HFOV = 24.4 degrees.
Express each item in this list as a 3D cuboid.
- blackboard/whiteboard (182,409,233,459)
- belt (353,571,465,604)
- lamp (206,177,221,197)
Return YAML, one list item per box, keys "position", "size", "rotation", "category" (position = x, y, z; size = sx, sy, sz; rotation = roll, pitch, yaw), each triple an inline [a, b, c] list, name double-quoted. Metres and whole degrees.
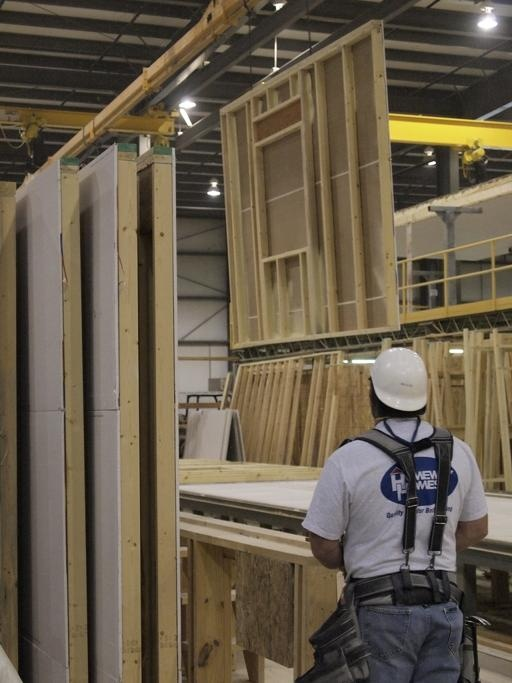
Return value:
- position: [-0.495, 0.963, 12.341]
  size: [0.173, 0.429, 0.554]
  rotation: [6, -6, -24]
  category: "blackboard/whiteboard"
- position: [0.677, 1.101, 5.321]
  size: [0.258, 0.112, 0.215]
  rotation: [-2, -1, -21]
  category: "belt"
- position: [-0.972, -3.474, 27.013]
  size: [0.233, 0.278, 0.246]
  rotation: [2, 3, 25]
  category: "lamp"
